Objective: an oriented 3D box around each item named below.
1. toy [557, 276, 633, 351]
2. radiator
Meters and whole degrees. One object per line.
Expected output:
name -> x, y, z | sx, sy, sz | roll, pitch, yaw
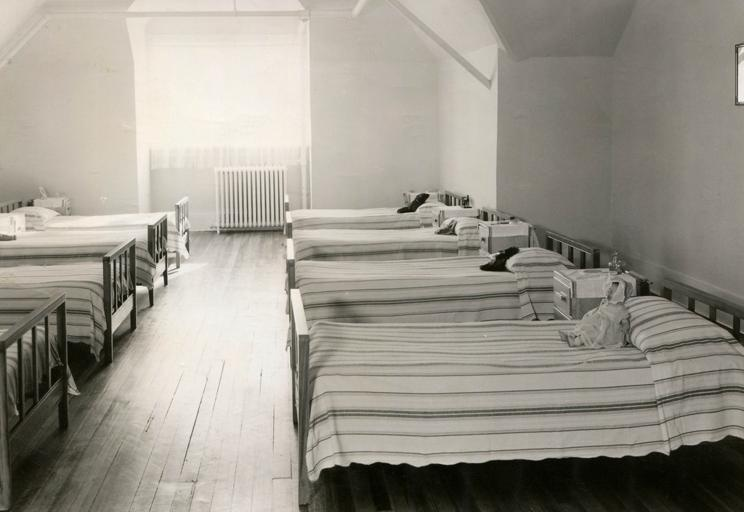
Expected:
toy -> 1.300, 0.312, 3.291 | 0.355, 0.394, 0.388 | 2, 4, 9
radiator -> -2.201, -1.054, 10.105 | 1.242, 1.134, 0.321 | 0, 13, 5
